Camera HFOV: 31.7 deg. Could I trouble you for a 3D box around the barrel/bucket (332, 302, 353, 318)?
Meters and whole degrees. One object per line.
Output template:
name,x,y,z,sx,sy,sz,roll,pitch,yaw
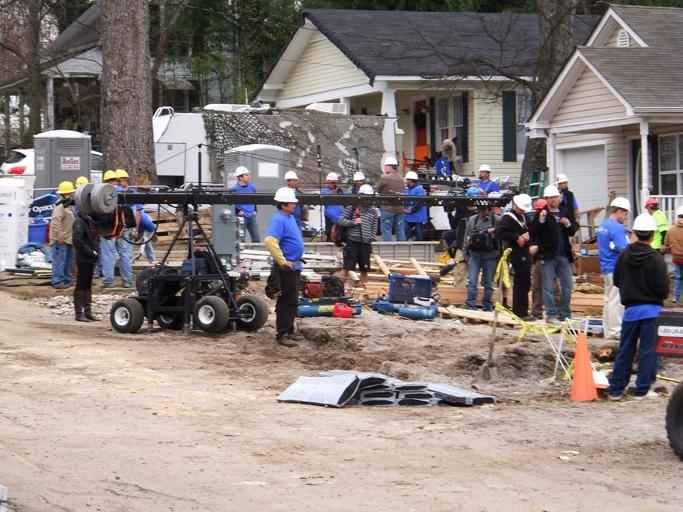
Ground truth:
barrel/bucket,0.027,0.955,20.835,0.316,0.148,0.276,1,-1,5

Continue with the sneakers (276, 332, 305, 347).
sneakers,-0.743,1.324,18.950,0.511,0.169,0.151,-2,9,2

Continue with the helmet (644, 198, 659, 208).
helmet,5.984,-1.034,23.163,0.366,0.146,0.277,-15,16,-43

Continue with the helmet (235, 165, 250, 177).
helmet,-2.003,-1.738,24.590,0.359,0.175,0.396,-4,0,-28

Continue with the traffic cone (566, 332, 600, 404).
traffic cone,3.343,1.526,16.521,0.369,0.900,0.454,1,2,9

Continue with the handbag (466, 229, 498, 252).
handbag,2.520,-0.254,21.371,0.525,0.388,0.423,-1,-1,23

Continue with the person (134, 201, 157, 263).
person,-3.816,-0.407,23.441,0.579,0.423,1.377,2,-24,-13

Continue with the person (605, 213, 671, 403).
person,3.993,0.886,16.138,0.805,2.146,0.435,2,2,30

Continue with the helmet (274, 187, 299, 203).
helmet,-0.877,-0.940,18.800,0.270,0.136,0.317,-2,2,-41

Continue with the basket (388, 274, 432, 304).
basket,1.220,0.595,21.313,0.766,0.397,0.491,0,2,1

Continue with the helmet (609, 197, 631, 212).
helmet,4.216,-0.780,18.177,0.242,0.203,0.368,1,2,18

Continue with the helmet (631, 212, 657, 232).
helmet,4.107,-0.462,16.303,0.292,0.157,0.331,0,0,10

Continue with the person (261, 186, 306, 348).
person,-0.898,0.173,18.807,0.658,2.480,0.430,0,2,-23

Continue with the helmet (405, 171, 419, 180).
helmet,1.459,-1.720,25.675,0.309,0.130,0.247,8,6,40

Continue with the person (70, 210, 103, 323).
person,-4.205,0.192,19.875,0.408,1.829,0.808,1,2,-11

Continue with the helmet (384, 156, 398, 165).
helmet,1.075,-1.992,25.303,0.335,0.144,0.369,0,6,-10

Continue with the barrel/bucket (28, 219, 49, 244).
barrel/bucket,-6.475,-0.522,25.810,0.407,0.502,0.532,1,2,-13
